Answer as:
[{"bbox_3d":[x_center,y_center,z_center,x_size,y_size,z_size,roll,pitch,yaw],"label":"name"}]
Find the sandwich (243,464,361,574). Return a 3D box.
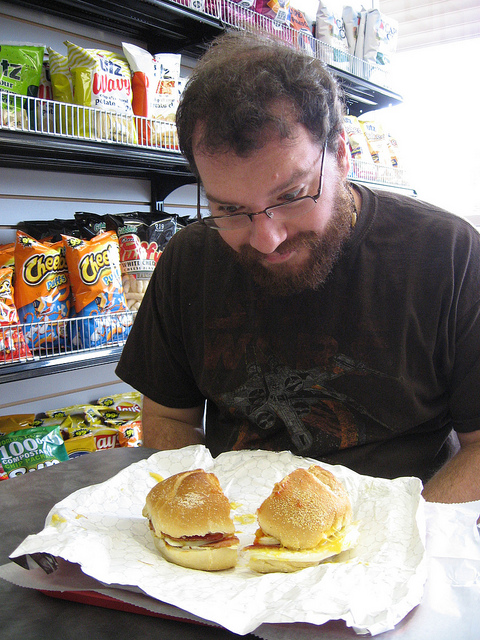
[{"bbox_3d":[0.090,0.277,0.668,0.092,0.055,0.155,6,12,28],"label":"sandwich"}]

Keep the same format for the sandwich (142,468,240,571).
[{"bbox_3d":[-0.077,0.291,0.740,0.134,0.073,0.217,3,6,-20],"label":"sandwich"}]
